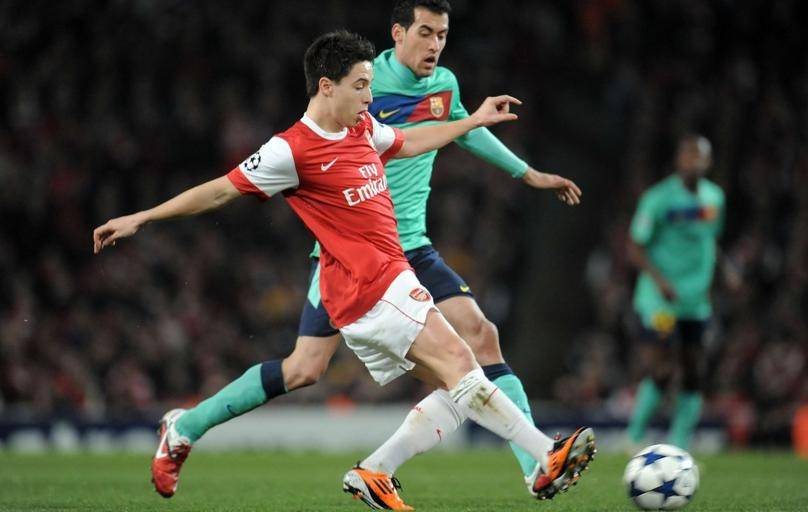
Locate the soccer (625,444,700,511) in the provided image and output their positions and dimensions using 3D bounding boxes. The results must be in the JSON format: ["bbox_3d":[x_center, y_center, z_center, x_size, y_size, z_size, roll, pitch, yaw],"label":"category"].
[{"bbox_3d":[2.534,2.223,9.716,0.588,0.629,0.592,-5,-18,-13],"label":"soccer"}]
